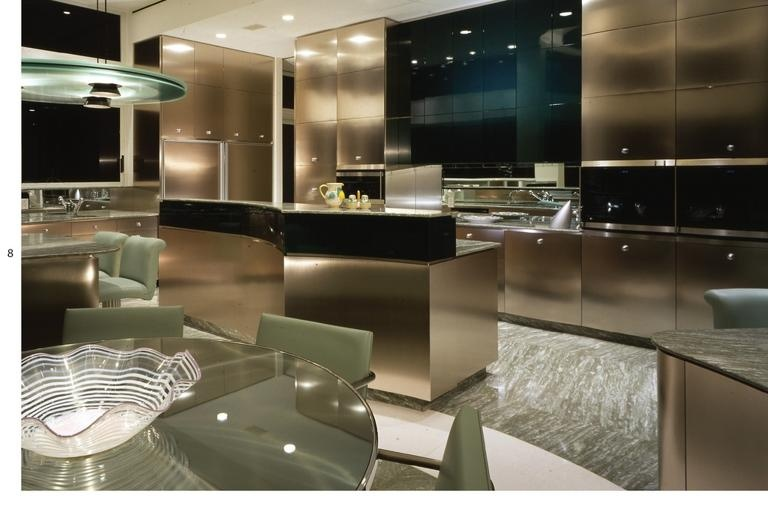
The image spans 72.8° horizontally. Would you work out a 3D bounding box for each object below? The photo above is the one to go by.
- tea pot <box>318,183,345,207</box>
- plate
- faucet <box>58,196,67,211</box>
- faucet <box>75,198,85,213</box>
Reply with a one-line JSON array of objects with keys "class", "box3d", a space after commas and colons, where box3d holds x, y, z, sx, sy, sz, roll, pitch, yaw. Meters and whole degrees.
[{"class": "tea pot", "box3d": [-0.396, -0.493, 4.147, 0.156, 0.176, 0.383, -1, 10, -4]}, {"class": "plate", "box3d": [-0.986, 0.467, 1.795, 0.402, 0.095, 0.404, 1, 6, 1]}, {"class": "faucet", "box3d": [-4.177, -0.709, 6.809, 0.089, 0.161, 0.162, -7, 12, -32]}, {"class": "faucet", "box3d": [-4.070, -0.685, 6.995, 0.046, 0.165, 0.165, 12, -13, -11]}]
